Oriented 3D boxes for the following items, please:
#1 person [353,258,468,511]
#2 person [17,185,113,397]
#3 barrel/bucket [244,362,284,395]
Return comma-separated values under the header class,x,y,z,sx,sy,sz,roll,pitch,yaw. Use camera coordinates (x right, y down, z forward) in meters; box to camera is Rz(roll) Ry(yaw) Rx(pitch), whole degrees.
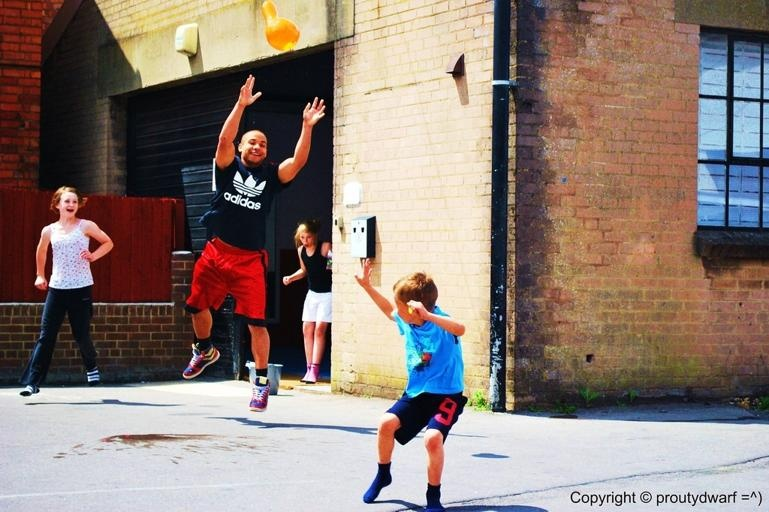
class,x,y,z,sx,sy,sz,roll,pitch,yaw
person,0.270,1.129,8.475,0.899,2.175,0.573,0,-5,4
person,-4.233,0.483,12.871,1.027,2.752,1.262,2,-5,-16
barrel/bucket,-1.582,1.637,12.968,0.583,0.502,0.541,-1,0,0
